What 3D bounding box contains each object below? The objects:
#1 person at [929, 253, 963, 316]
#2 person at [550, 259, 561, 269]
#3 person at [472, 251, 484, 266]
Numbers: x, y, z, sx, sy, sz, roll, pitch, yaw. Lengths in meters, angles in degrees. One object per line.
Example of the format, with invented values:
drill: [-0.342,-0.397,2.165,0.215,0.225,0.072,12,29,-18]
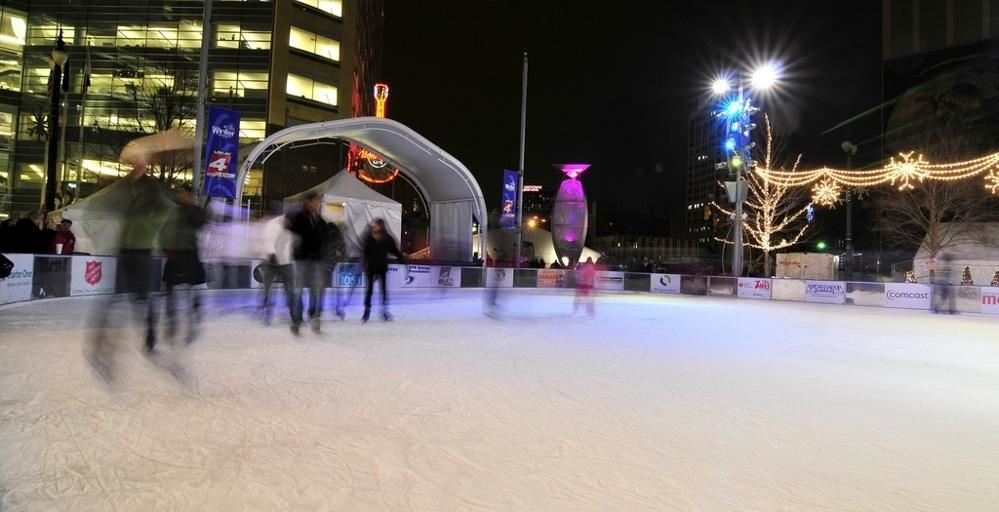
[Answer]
person: [26.065,1.662,38.772,1.204,3.907,1.366,1,0,32]
person: [4.562,0.624,55.471,0.692,1.028,1.032,-4,-3,4]
person: [-1.382,0.373,45.499,0.509,0.932,1.433,1,-23,-7]
